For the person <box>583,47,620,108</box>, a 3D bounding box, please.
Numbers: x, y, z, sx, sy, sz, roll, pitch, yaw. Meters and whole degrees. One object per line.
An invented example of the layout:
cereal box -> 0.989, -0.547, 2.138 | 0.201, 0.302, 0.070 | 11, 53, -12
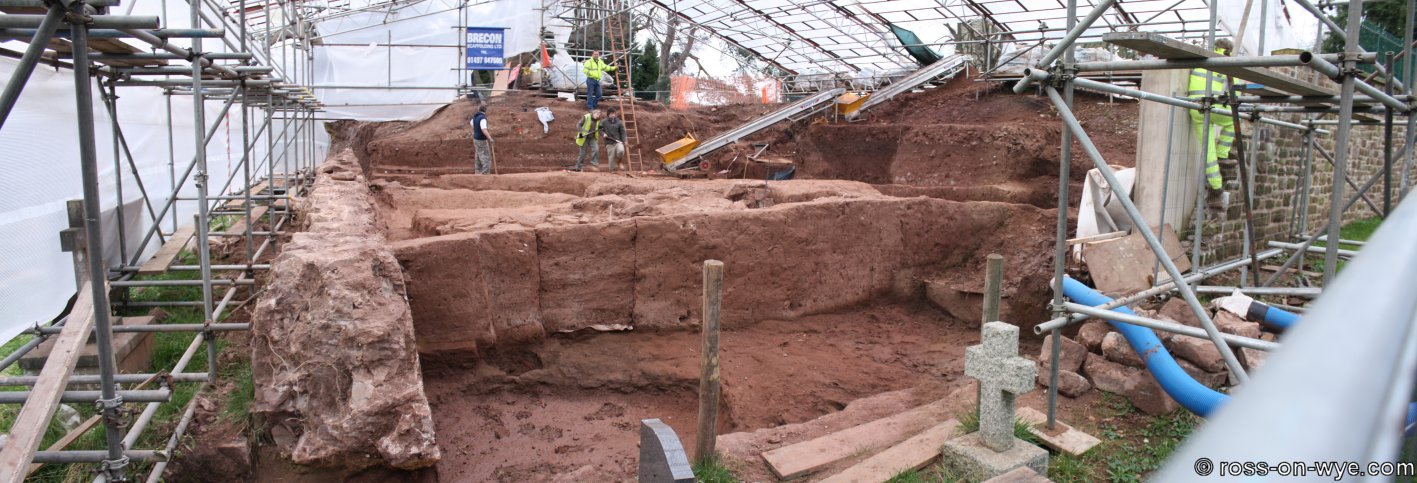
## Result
person -> -3.978, -5.814, 28.007 | 0.955, 2.156, 0.839 | -6, 7, -7

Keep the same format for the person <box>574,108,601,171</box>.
person -> -4.035, -3.441, 26.364 | 0.883, 2.068, 1.456 | -6, 7, -7

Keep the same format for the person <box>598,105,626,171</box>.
person -> -3.198, -3.408, 26.518 | 0.851, 1.989, 1.591 | -6, 7, -6
